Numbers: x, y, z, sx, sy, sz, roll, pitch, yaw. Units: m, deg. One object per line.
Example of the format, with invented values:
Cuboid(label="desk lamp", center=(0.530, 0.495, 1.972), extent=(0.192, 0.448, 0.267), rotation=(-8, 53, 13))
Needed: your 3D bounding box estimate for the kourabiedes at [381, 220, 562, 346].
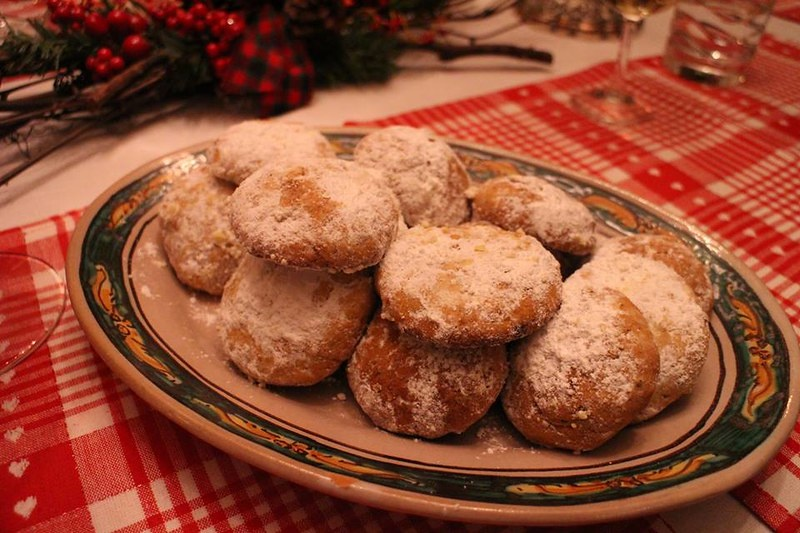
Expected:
Cuboid(label="kourabiedes", center=(0.151, 0.043, 1.543), extent=(0.387, 0.075, 0.264), rotation=(-3, 53, 1))
